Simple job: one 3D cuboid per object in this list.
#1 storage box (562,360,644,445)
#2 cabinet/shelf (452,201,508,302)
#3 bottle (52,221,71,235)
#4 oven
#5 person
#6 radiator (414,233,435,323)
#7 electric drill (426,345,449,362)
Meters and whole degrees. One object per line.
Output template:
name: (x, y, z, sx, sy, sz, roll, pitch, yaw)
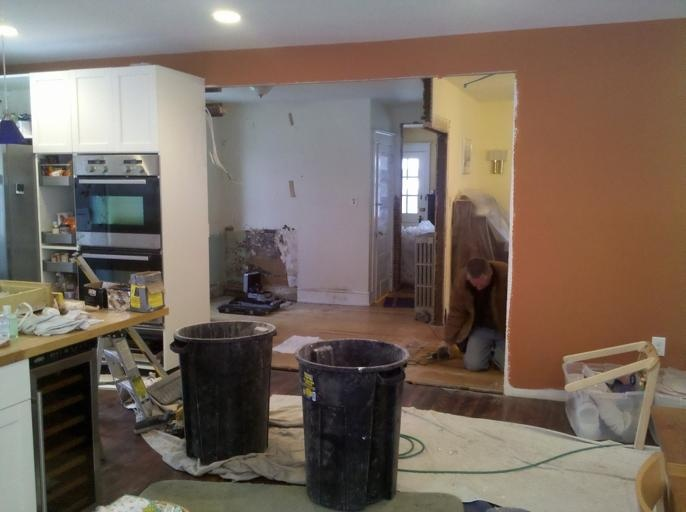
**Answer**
storage box: (1.862, 1.105, 4.015, 0.491, 0.357, 0.407, -3, 0, 5)
cabinet/shelf: (1.671, -0.162, 7.130, 0.503, 0.882, 0.904, -7, -10, 3)
bottle: (-2.738, -0.256, 5.286, 0.142, 0.102, 0.103, 0, 0, -2)
oven: (-2.208, -0.314, 5.371, 0.801, 0.818, 0.993, -16, 3, -22)
person: (1.269, 0.545, 5.369, 0.630, 1.101, 0.599, 3, 12, 16)
radiator: (1.005, 0.298, 6.723, 0.248, 1.048, 0.143, 3, 12, 17)
electric drill: (0.975, 0.991, 5.519, 0.171, 0.074, 0.132, -7, 2, -35)
